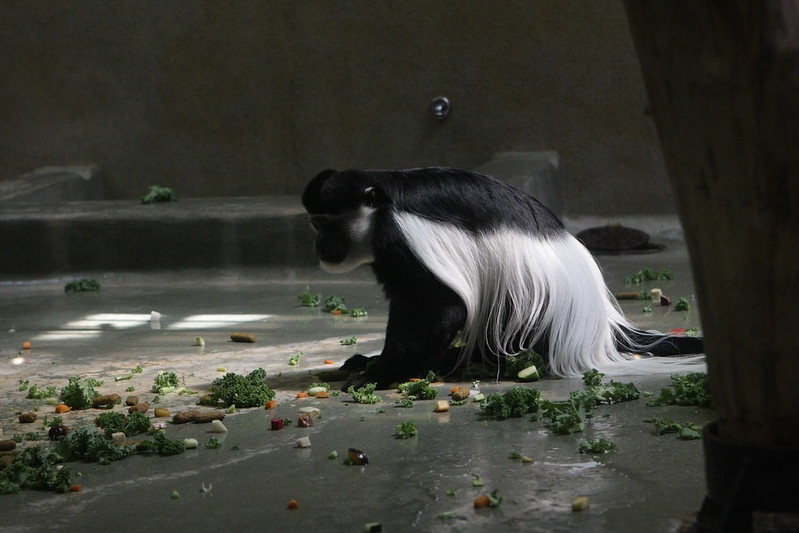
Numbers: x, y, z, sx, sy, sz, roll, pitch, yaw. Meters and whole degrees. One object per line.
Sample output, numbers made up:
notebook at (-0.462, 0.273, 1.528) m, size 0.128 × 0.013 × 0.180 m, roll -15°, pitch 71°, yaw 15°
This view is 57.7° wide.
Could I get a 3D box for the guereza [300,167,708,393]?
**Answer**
guereza at (0.584, 0.052, 3.841) m, size 2.380 × 0.811 × 0.646 m, roll 5°, pitch 8°, yaw -13°
